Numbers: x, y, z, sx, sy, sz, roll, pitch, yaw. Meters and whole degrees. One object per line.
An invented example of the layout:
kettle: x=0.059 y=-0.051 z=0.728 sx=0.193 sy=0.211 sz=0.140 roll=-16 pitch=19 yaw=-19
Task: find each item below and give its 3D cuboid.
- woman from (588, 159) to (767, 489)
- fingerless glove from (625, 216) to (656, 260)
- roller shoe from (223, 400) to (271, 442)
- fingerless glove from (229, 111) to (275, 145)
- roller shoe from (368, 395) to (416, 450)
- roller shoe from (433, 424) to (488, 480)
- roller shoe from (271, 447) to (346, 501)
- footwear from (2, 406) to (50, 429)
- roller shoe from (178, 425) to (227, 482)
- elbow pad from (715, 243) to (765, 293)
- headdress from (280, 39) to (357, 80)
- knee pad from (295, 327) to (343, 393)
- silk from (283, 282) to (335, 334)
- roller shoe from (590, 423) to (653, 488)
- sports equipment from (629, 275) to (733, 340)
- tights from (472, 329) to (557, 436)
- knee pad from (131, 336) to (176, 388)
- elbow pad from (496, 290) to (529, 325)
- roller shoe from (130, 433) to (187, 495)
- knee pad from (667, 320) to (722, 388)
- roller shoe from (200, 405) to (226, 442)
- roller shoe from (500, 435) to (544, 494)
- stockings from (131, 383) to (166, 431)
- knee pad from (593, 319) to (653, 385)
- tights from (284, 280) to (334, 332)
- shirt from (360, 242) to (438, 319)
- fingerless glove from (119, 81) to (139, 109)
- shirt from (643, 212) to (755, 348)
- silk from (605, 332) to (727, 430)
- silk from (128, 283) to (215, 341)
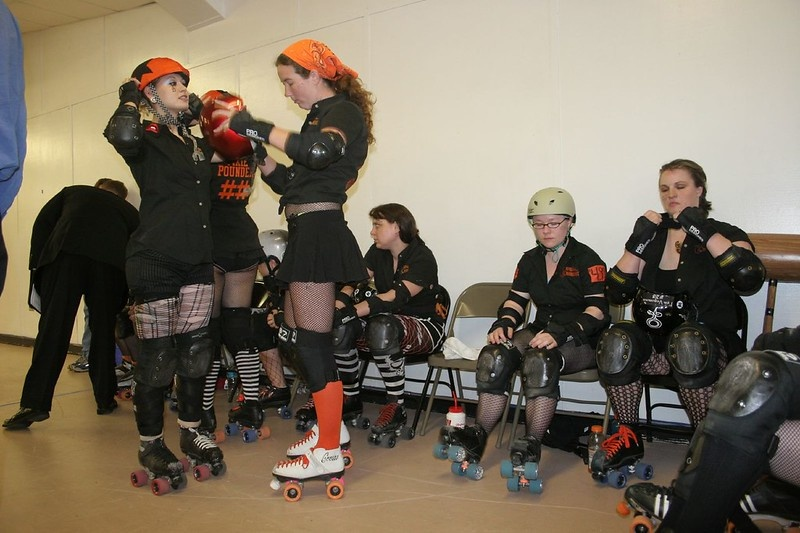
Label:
woman: x=1.960 y=0.331 z=4.097 sx=0.935 sy=2.265 sz=1.018 roll=14 pitch=-13 yaw=-28
fingerless glove: x=1.655 y=-0.204 z=4.085 sx=0.098 sy=0.294 sz=0.190 roll=8 pitch=24 yaw=-26
roller shoe: x=-1.256 y=1.235 z=4.774 sx=0.442 sy=0.283 sz=0.251 roll=3 pitch=-1 yaw=42
fingerless glove: x=-0.873 y=-0.821 z=3.545 sx=0.259 sy=0.111 sz=0.159 roll=22 pitch=8 yaw=-14
roller shoe: x=-0.084 y=1.246 z=4.686 sx=0.242 sy=0.293 sz=0.495 roll=-2 pitch=-2 yaw=28
roller shoe: x=0.499 y=1.256 z=4.144 sx=0.524 sy=0.234 sz=0.306 roll=17 pitch=-11 yaw=-41
roller shoe: x=-0.550 y=1.319 z=3.772 sx=0.487 sy=0.303 sz=0.264 roll=2 pitch=-1 yaw=-4
footwear: x=-3.085 y=1.258 z=4.849 sx=0.319 sy=0.192 sz=0.245 roll=-7 pitch=10 yaw=-35
roller shoe: x=-1.434 y=1.231 z=4.035 sx=0.507 sy=0.234 sz=0.174 roll=26 pitch=17 yaw=30
elbow pad: x=2.181 y=-0.019 z=3.854 sx=0.339 sy=0.240 sz=0.130 roll=45 pitch=15 yaw=-8
headdress: x=-0.513 y=-1.304 z=3.708 sx=0.401 sy=0.148 sz=0.277 roll=20 pitch=21 yaw=-20
knee pad: x=-0.522 y=0.586 z=3.683 sx=0.255 sy=0.398 sz=0.138 roll=-3 pitch=9 yaw=-13
silk: x=-0.594 y=0.313 z=3.842 sx=0.259 sy=0.350 sz=0.448 roll=9 pitch=-22 yaw=-41
roller shoe: x=1.455 y=1.268 z=3.894 sx=0.328 sy=0.254 sz=0.165 roll=-7 pitch=-4 yaw=-37
sports equipment: x=1.919 y=0.260 z=4.245 sx=0.424 sy=0.297 sz=0.581 roll=10 pitch=22 yaw=40
tights: x=0.820 y=0.778 z=4.034 sx=0.553 sy=0.714 sz=0.356 roll=0 pitch=-7 yaw=27
knee pad: x=-1.605 y=0.637 z=3.858 sx=0.264 sy=0.346 sz=0.195 roll=-5 pitch=10 yaw=-24
elbow pad: x=0.874 y=0.370 z=4.549 sx=0.217 sy=0.118 sz=0.297 roll=14 pitch=51 yaw=33
roller shoe: x=-1.586 y=1.294 z=3.879 sx=0.457 sy=0.301 sz=0.270 roll=1 pitch=9 yaw=39
knee pad: x=1.859 y=0.571 z=3.739 sx=0.302 sy=0.417 sz=0.149 roll=-23 pitch=-36 yaw=34
roller shoe: x=-1.517 y=1.268 z=4.669 sx=0.134 sy=0.277 sz=0.400 roll=-4 pitch=-17 yaw=-29
roller shoe: x=0.803 y=1.295 z=3.844 sx=0.264 sy=0.294 sz=0.280 roll=1 pitch=9 yaw=14
stockings: x=-1.635 y=0.933 z=3.851 sx=0.192 sy=0.375 sz=0.104 roll=-5 pitch=10 yaw=-26
knee pad: x=1.487 y=0.578 z=3.923 sx=0.308 sy=0.445 sz=0.158 roll=19 pitch=23 yaw=34
tights: x=-0.630 y=0.257 z=3.788 sx=0.275 sy=0.347 sz=0.461 roll=7 pitch=-9 yaw=-41
shirt: x=-0.006 y=0.140 z=5.117 sx=0.592 sy=0.679 sz=0.680 roll=-2 pitch=-5 yaw=42
fingerless glove: x=-1.771 y=-1.137 z=3.827 sx=0.139 sy=0.180 sz=0.076 roll=-2 pitch=-19 yaw=-3
shirt: x=2.019 y=0.155 z=4.173 sx=0.474 sy=0.806 sz=0.678 roll=-15 pitch=12 yaw=-16
silk: x=1.860 y=0.719 z=4.144 sx=0.680 sy=0.653 sz=0.561 roll=0 pitch=-4 yaw=28
silk: x=-1.562 y=0.283 z=4.031 sx=0.315 sy=0.371 sz=0.566 roll=23 pitch=27 yaw=35
